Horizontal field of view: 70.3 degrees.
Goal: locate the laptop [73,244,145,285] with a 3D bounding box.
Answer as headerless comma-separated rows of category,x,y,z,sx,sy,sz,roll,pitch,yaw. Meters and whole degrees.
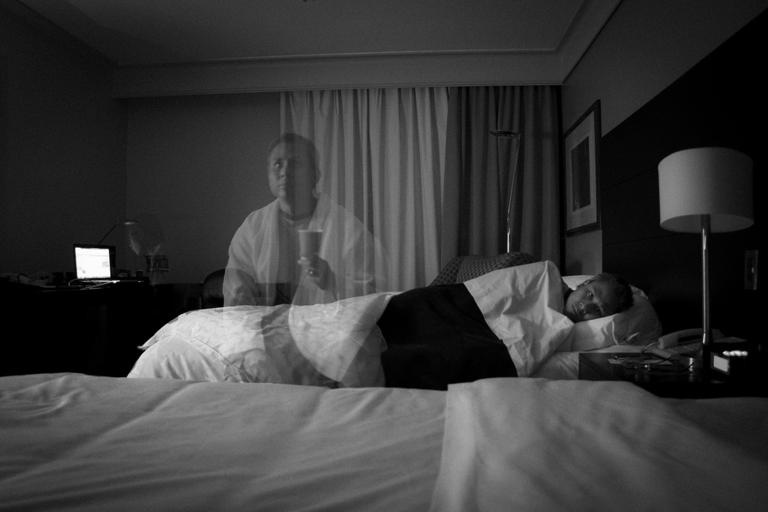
laptop,-1.150,0.044,2.289,0.235,0.158,0.236,8,2,24

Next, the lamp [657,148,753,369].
lamp,0.853,-0.001,1.464,0.247,0.568,0.236,0,-2,-22
